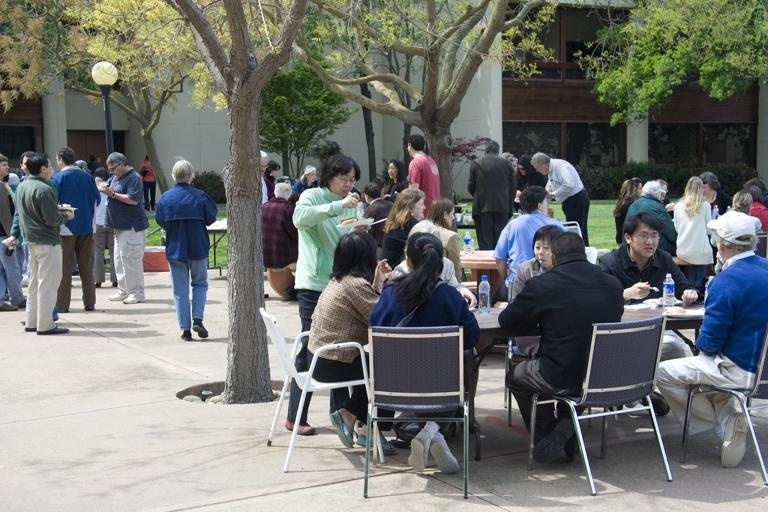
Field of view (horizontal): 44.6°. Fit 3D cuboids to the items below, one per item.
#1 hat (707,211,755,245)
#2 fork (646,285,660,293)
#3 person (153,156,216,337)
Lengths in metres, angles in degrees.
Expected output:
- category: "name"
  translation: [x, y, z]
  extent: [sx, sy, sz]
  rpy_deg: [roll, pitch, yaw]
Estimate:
- category: "hat"
  translation: [3.619, -0.282, 9.861]
  extent: [0.340, 0.246, 0.449]
  rpy_deg: [-7, 18, -25]
- category: "fork"
  translation: [3.123, 0.394, 10.982]
  extent: [0.244, 0.039, 0.036]
  rpy_deg: [9, 6, 8]
- category: "person"
  translation: [-2.880, -0.081, 13.539]
  extent: [0.757, 2.565, 0.680]
  rpy_deg: [0, 14, -3]
